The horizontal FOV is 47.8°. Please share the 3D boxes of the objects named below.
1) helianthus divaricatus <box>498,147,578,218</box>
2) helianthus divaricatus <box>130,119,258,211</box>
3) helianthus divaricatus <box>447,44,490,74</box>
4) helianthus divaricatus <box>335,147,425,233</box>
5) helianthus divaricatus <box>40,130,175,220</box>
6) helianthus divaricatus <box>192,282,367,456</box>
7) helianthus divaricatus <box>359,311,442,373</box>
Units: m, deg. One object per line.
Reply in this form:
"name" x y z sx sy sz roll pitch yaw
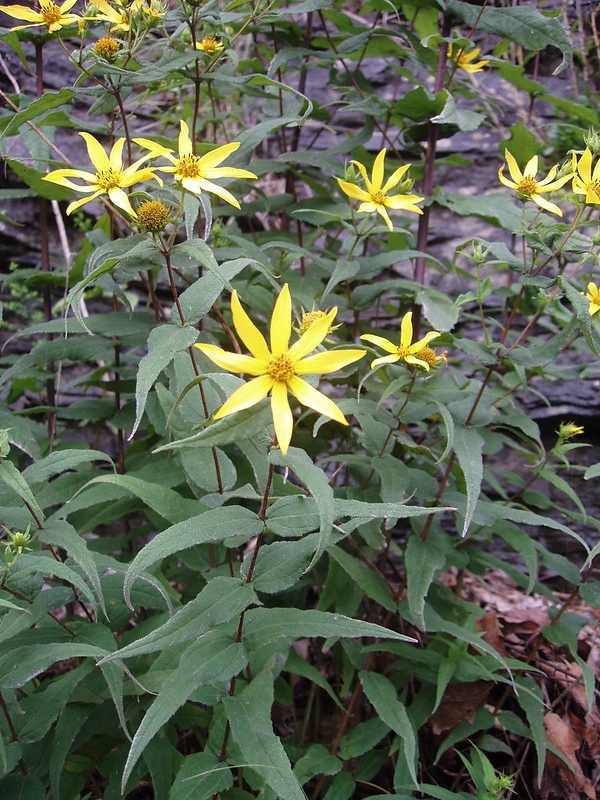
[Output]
"helianthus divaricatus" 0.691 -0.677 2.081 0.278 0.097 0.207 5 -2 -15
"helianthus divaricatus" -0.280 -0.578 1.671 0.339 0.100 0.303 14 33 39
"helianthus divaricatus" 0.627 -1.306 2.588 0.142 0.091 0.423 13 30 5
"helianthus divaricatus" 0.235 -0.678 2.143 0.248 0.081 0.234 -4 -3 25
"helianthus divaricatus" -0.500 -0.589 1.763 0.326 0.102 0.340 -4 -6 27
"helianthus divaricatus" -0.036 -0.069 1.204 0.266 0.219 0.252 14 32 5
"helianthus divaricatus" 0.282 -0.164 2.016 0.220 0.069 0.250 -3 -14 -42
